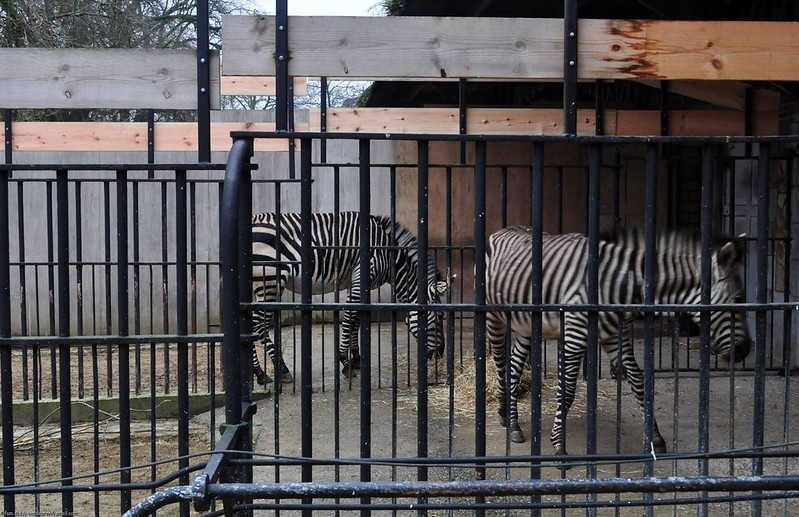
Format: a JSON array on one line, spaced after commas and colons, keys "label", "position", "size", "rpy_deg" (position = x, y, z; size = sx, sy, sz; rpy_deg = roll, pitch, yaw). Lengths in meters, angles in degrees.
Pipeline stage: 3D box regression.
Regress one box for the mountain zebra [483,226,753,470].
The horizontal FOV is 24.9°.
[{"label": "mountain zebra", "position": [1.970, 0.809, 18.837], "size": [3.793, 2.498, 0.976], "rpy_deg": [10, 14, 42]}]
